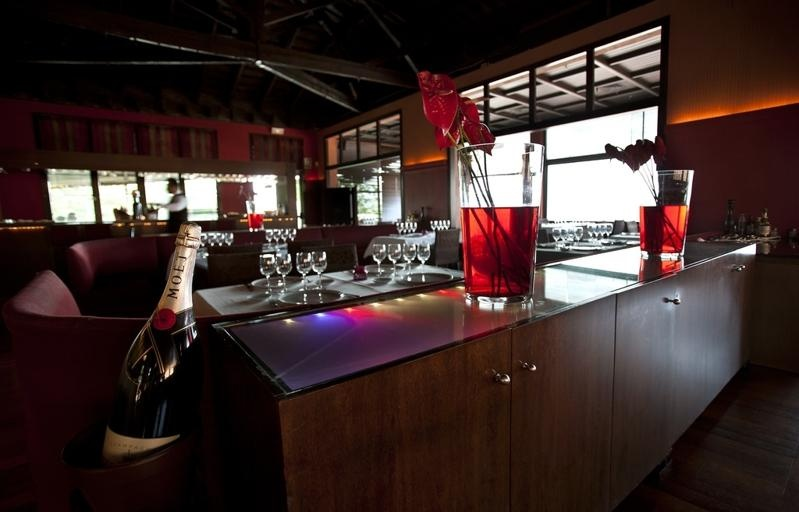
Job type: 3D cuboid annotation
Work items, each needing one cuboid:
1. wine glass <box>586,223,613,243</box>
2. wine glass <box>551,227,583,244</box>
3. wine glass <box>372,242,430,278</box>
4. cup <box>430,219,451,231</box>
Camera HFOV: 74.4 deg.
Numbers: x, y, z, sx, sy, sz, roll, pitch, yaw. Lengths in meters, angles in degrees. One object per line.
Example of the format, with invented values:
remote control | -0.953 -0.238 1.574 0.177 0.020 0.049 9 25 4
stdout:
wine glass | 2.147 -0.256 5.656 0.318 0.293 0.290 0 6 13
wine glass | 1.818 -0.233 5.757 0.242 0.155 0.233 -1 0 -38
wine glass | 0.004 0.017 4.648 0.383 0.188 0.372 -2 -1 -41
cup | 0.723 -0.532 9.015 0.274 0.132 0.383 0 1 13
